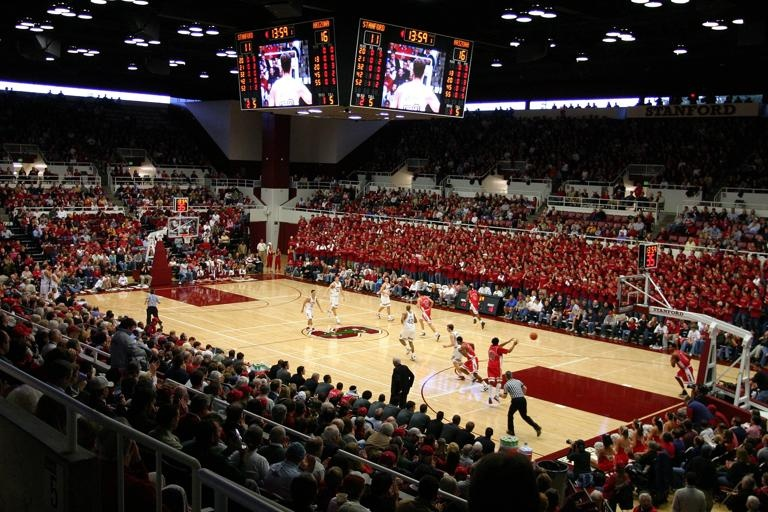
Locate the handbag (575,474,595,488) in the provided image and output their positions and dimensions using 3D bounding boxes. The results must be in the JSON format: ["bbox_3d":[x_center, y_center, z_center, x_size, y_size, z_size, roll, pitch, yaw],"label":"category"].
[{"bbox_3d":[4.224,4.699,12.782,0.290,0.279,0.302,-1,1,-17],"label":"handbag"}]

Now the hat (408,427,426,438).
[{"bbox_3d":[0.674,3.613,12.369,0.240,0.139,0.380,5,-3,36],"label":"hat"}]

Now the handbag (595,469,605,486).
[{"bbox_3d":[4.570,4.679,12.943,0.246,0.276,0.372,6,7,20],"label":"handbag"}]

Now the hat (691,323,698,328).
[{"bbox_3d":[12.364,2.786,24.274,0.154,0.068,0.213,34,5,10],"label":"hat"}]
